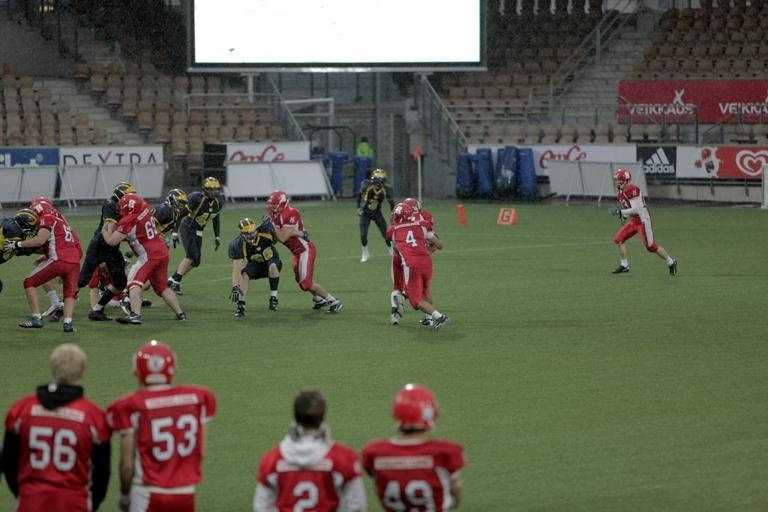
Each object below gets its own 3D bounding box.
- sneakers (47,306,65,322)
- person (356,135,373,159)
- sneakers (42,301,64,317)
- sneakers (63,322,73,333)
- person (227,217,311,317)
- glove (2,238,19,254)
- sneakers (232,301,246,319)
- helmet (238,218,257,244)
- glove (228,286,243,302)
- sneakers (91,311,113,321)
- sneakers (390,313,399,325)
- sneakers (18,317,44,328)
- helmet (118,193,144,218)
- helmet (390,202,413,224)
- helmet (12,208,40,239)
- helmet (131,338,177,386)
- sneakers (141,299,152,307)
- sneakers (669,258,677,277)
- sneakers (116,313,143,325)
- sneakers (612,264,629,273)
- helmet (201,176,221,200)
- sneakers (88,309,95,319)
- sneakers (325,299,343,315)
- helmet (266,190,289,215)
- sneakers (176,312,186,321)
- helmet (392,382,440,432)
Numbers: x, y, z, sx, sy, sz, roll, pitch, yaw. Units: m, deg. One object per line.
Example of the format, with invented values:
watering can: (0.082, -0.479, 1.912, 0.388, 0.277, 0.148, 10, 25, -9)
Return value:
sneakers: (-5.780, 1.027, 18.607, 0.336, 0.115, 0.143, -37, 0, 7)
person: (-0.822, -4.625, 45.077, 0.780, 1.069, 1.076, 0, 0, -1)
sneakers: (-5.931, 0.958, 18.906, 0.298, 0.109, 0.145, -26, 50, 1)
sneakers: (-5.336, 1.177, 17.813, 0.173, 0.183, 0.278, -3, 11, -17)
person: (-2.350, 0.152, 19.263, 0.874, 1.760, 1.107, -1, 10, -9)
glove: (-6.150, -0.163, 17.360, 0.180, 0.242, 0.387, -7, 13, -36)
sneakers: (-2.620, 0.914, 19.089, 0.191, 0.295, 0.491, -1, 10, -8)
helmet: (-2.410, -0.471, 18.838, 0.298, 0.330, 0.382, -9, 30, -24)
glove: (-2.649, 0.668, 18.914, 0.187, 0.298, 0.350, -1, 10, -11)
sneakers: (-5.004, 1.042, 18.686, 0.435, 0.213, 0.146, 2, 18, -10)
sneakers: (0.180, 1.103, 18.372, 0.128, 0.191, 0.191, 0, -6, -4)
sneakers: (-6.047, 1.109, 18.042, 0.400, 0.215, 0.284, -1, 10, -9)
helmet: (-4.276, -0.877, 17.934, 0.485, 0.368, 0.286, -4, 11, -26)
helmet: (0.299, -0.732, 17.939, 0.293, 0.371, 0.373, 6, 9, 22)
helmet: (-5.929, -0.552, 17.580, 0.370, 0.473, 0.473, 7, -9, 45)
helmet: (-2.360, 1.120, 10.834, 0.375, 0.418, 0.454, 1, 44, -10)
sneakers: (-4.510, 0.894, 19.995, 0.180, 0.124, 0.283, -1, 6, -11)
sneakers: (6.047, 0.246, 22.189, 0.203, 0.442, 0.144, 1, 1, -42)
sneakers: (-4.393, 1.088, 18.343, 0.474, 0.222, 0.175, 5, -8, 1)
sneakers: (5.075, 0.287, 22.559, 0.410, 0.192, 0.147, -2, 15, -10)
helmet: (-3.460, -1.391, 21.450, 0.438, 0.444, 0.396, 21, 24, 39)
sneakers: (-5.210, 1.040, 18.686, 0.124, 0.182, 0.180, 1, -7, -8)
sneakers: (-0.918, 0.931, 19.340, 0.137, 0.275, 0.407, -4, -2, 8)
helmet: (-1.894, -0.981, 19.136, 0.401, 0.378, 0.352, 6, 32, 10)
sneakers: (-3.573, 1.060, 18.571, 0.121, 0.135, 0.161, 2, -9, -20)
helmet: (0.321, 1.506, 10.489, 0.392, 0.423, 0.454, -3, -3, -1)
